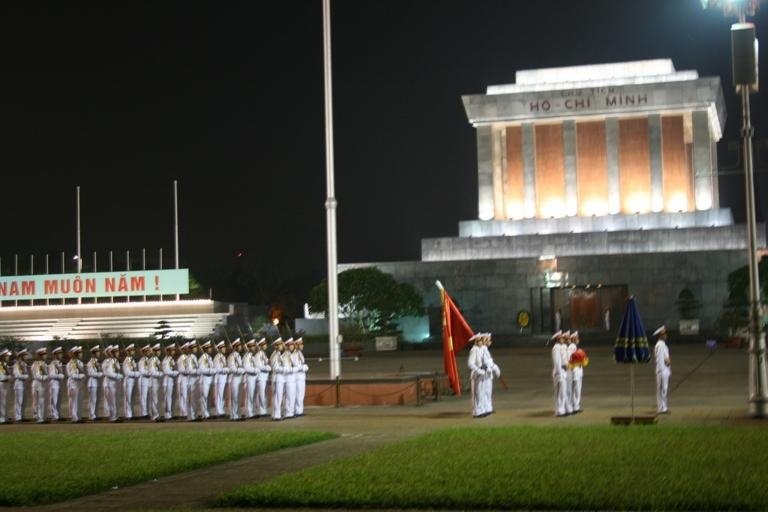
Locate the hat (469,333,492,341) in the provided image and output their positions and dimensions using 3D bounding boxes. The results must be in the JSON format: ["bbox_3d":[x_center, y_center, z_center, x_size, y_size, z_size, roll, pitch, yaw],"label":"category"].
[{"bbox_3d":[3.578,3.061,51.693,0.437,0.193,0.427,1,3,-38],"label":"hat"}]

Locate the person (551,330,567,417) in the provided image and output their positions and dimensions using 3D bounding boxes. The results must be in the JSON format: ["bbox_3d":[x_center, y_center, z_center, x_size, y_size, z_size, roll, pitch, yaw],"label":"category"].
[{"bbox_3d":[6.621,4.457,51.444,0.685,3.097,1.074,-5,-4,6],"label":"person"}]

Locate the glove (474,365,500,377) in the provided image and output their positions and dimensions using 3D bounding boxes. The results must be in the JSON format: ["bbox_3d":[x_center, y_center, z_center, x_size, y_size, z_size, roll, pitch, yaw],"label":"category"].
[{"bbox_3d":[3.912,4.390,51.543,0.687,0.251,0.510,-1,0,15],"label":"glove"}]
